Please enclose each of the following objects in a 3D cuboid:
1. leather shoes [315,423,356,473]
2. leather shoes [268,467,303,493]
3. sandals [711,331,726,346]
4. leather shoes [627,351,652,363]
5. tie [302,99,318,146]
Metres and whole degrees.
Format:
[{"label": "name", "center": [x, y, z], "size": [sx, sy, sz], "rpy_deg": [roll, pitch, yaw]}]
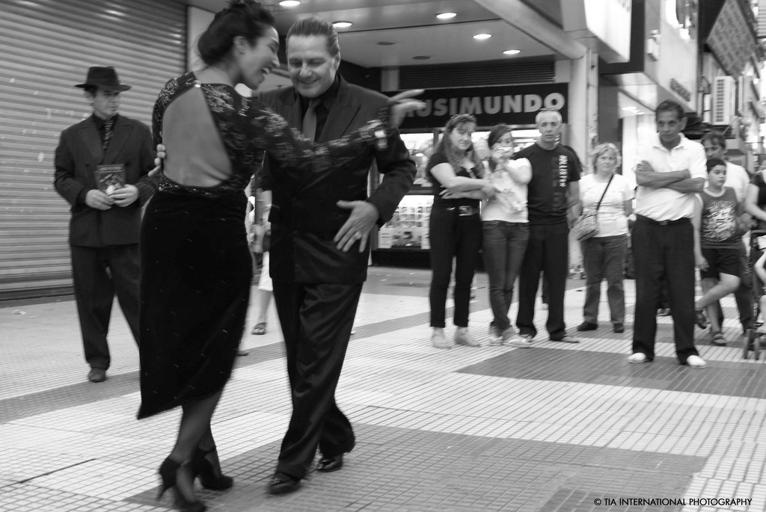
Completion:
[{"label": "leather shoes", "center": [-0.203, 1.050, 2.972], "size": [0.124, 0.109, 0.324], "rpy_deg": [-2, 0, 28]}, {"label": "leather shoes", "center": [-0.457, 1.077, 2.632], "size": [0.080, 0.074, 0.205], "rpy_deg": [-12, -17, 30]}, {"label": "sandals", "center": [3.952, 0.974, 6.614], "size": [0.121, 0.109, 0.301], "rpy_deg": [-3, -4, 11]}, {"label": "leather shoes", "center": [2.524, 1.009, 5.489], "size": [0.266, 0.086, 0.108], "rpy_deg": [8, -9, -40]}, {"label": "tie", "center": [-0.363, -0.680, 2.754], "size": [0.079, 0.205, 0.048], "rpy_deg": [4, 4, 41]}]
